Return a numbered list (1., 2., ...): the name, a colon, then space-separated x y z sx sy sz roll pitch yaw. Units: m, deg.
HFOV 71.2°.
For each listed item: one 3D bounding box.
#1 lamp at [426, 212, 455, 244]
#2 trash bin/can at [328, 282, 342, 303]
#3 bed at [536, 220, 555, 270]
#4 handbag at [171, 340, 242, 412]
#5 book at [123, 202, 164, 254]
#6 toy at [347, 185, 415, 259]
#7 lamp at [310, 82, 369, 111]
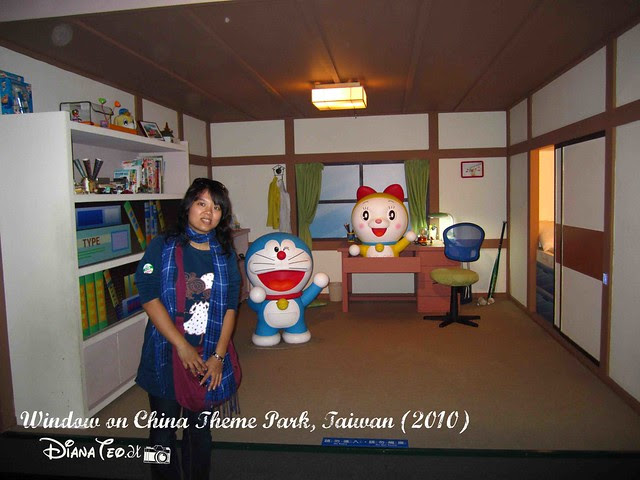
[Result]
1. lamp: 1.846 -0.180 6.859 0.409 0.853 0.457 0 1 18
2. trash bin/can: 0.231 0.827 7.112 0.242 0.277 0.242 0 2 38
3. bed: 3.671 0.056 7.311 0.208 0.560 1.437 3 10 26
4. handbag: -0.725 0.754 2.551 0.268 0.420 0.130 -6 -5 -12
5. book: -1.636 -0.110 4.051 0.015 0.393 0.369 3 -20 19
6. toy: 0.799 -0.210 6.474 1.016 1.382 0.909 -1 -1 2
7. lamp: 0.241 -1.790 5.579 0.625 0.249 0.649 1 10 11
